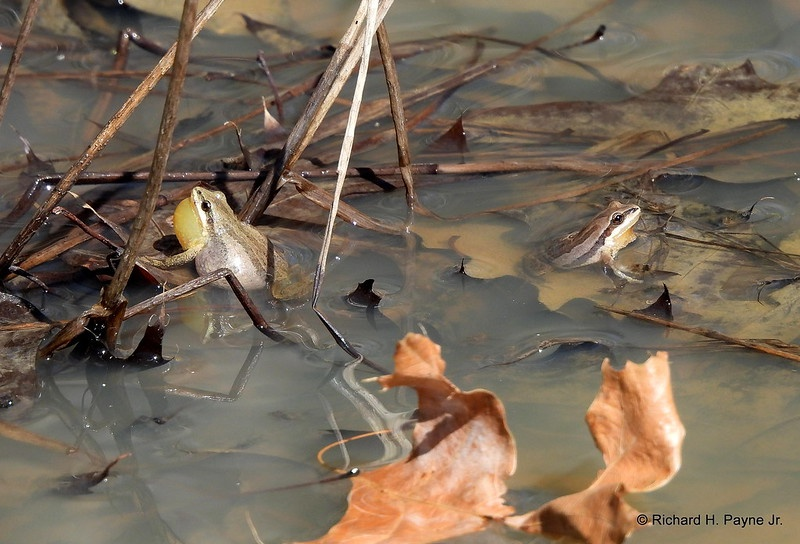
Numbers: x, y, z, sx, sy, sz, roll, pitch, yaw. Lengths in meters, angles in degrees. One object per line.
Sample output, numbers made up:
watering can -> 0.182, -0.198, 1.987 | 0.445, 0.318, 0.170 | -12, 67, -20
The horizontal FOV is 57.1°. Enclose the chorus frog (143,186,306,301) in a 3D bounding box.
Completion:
chorus frog -> -0.600, -0.076, 2.679 | 0.634, 0.180, 0.545 | 21, 23, 2

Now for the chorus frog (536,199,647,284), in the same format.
chorus frog -> 0.762, -0.097, 2.856 | 0.457, 0.151, 0.340 | -4, 40, 19
